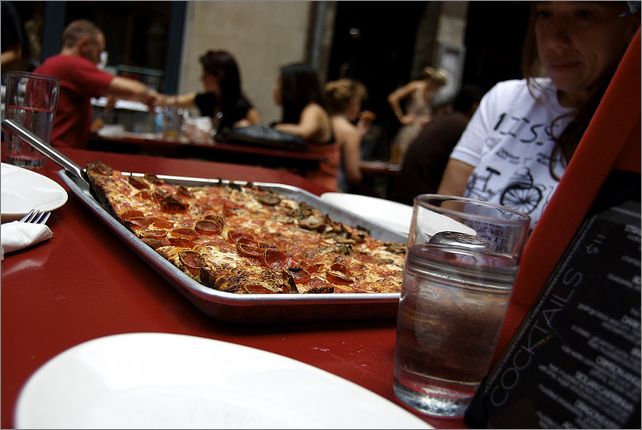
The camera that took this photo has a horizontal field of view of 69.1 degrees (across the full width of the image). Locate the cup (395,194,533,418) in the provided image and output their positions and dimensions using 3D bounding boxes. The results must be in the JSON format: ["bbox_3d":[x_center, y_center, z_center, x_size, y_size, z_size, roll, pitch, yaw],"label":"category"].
[{"bbox_3d":[0.145,0.105,0.515,0.120,0.227,0.089,11,20,16],"label":"cup"}]
